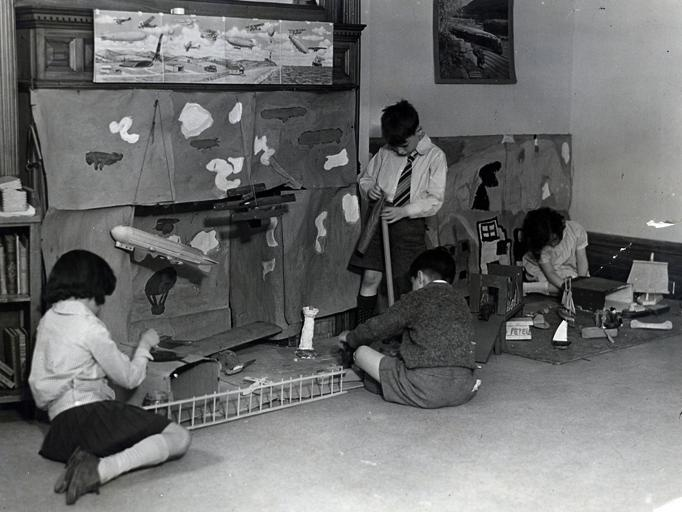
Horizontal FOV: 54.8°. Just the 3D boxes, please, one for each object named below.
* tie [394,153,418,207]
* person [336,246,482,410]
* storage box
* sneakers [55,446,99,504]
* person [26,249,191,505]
[{"bbox_3d":[0.433,-0.527,4.515,0.145,0.351,0.068,2,13,5],"label":"tie"},{"bbox_3d":[0.386,0.407,3.937,0.798,0.985,0.832,4,-2,-39],"label":"person"},{"bbox_3d":[-0.913,0.677,3.616,0.418,0.262,0.415,19,10,34],"label":"storage box"},{"bbox_3d":[-1.098,0.916,2.807,0.100,0.144,0.223,27,27,-19],"label":"sneakers"},{"bbox_3d":[-1.070,0.488,3.005,0.597,0.959,0.603,-8,15,-34],"label":"person"}]
